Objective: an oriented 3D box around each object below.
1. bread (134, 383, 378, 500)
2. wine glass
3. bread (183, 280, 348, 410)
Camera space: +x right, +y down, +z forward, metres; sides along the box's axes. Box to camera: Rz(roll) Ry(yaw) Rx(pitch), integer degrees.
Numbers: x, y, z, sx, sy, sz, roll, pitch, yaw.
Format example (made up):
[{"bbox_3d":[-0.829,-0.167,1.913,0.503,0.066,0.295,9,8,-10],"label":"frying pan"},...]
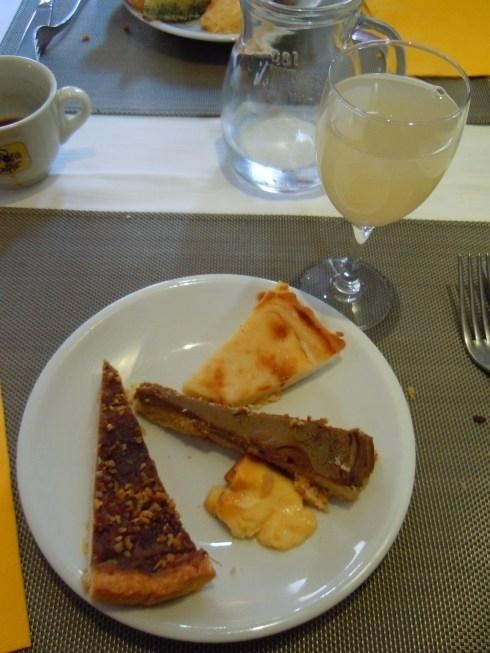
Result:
[{"bbox_3d":[-0.001,0.154,0.787,0.353,0.099,0.121,15,53,15],"label":"bread"},{"bbox_3d":[0.210,-0.236,0.845,0.188,0.375,0.333,20,58,14],"label":"wine glass"},{"bbox_3d":[0.024,0.043,0.816,0.202,0.050,0.143,-36,64,-19],"label":"bread"}]
